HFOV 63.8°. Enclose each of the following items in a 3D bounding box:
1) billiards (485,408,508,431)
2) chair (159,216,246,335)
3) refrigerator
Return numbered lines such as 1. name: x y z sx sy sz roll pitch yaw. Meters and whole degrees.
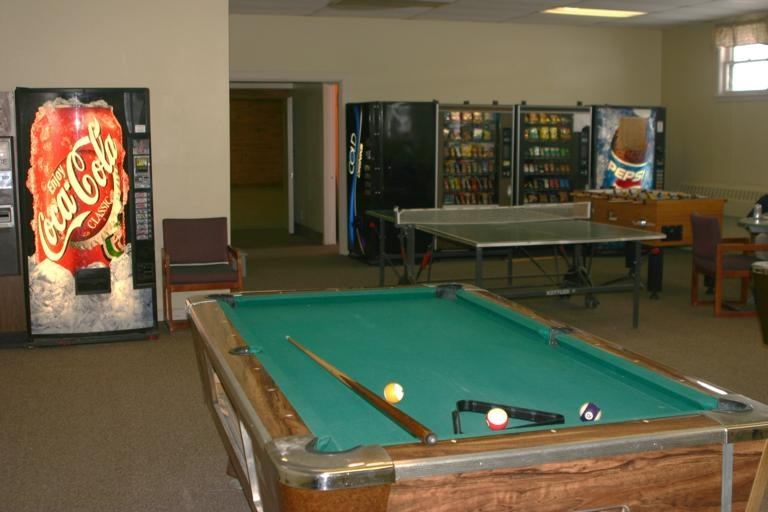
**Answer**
1. billiards: 0.455 0.657 2.493 0.079 0.097 0.104 1 14 6
2. chair: -2.016 0.194 6.740 0.923 1.211 0.958 1 10 -15
3. refrigerator: -3.106 -0.457 6.475 1.353 2.426 0.784 -3 13 -25
